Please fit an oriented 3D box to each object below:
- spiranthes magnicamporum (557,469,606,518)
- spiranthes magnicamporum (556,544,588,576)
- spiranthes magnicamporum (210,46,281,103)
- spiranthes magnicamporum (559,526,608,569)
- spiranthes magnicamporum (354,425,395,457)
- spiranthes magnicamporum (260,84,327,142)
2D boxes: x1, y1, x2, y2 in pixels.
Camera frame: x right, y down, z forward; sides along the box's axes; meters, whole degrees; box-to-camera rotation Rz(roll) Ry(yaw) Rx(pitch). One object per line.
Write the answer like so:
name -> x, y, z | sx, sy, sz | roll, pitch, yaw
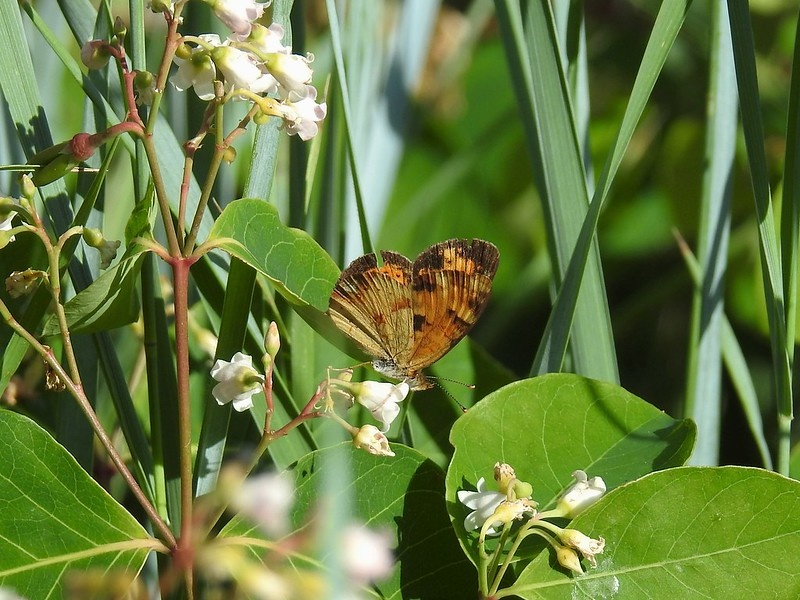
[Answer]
spiranthes magnicamporum -> 0.240, 0.264, 1.255 | 0.031, 0.083, 0.045 | 12, 30, -49
spiranthes magnicamporum -> 0.219, 0.341, 1.197 | 0.026, 0.049, 0.019 | -42, 4, -25
spiranthes magnicamporum -> -0.207, -0.307, 1.223 | 0.075, 0.061, 0.053 | 5, 13, 12
spiranthes magnicamporum -> 0.237, 0.319, 1.193 | 0.054, 0.039, 0.024 | 31, 59, -2
spiranthes magnicamporum -> -0.036, 0.195, 1.246 | 0.057, 0.055, 0.058 | 1, 13, -3
spiranthes magnicamporum -> -0.141, -0.257, 1.245 | 0.062, 0.072, 0.031 | -16, 56, -1
